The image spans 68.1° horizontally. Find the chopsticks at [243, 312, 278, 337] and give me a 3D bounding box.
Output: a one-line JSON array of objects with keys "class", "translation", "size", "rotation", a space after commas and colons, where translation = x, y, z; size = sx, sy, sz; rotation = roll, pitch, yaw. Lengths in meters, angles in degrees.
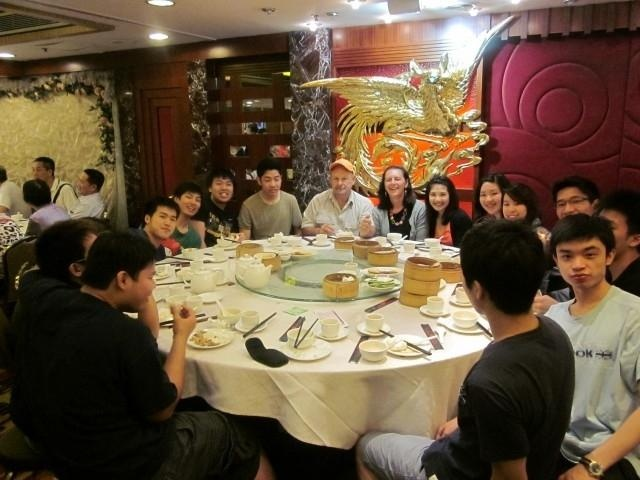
[{"class": "chopsticks", "translation": [-0.299, 0.413, 2.295], "size": [0.024, 0.020, 0.234], "rotation": [30, 29, 16]}]

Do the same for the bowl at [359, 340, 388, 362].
[{"class": "bowl", "translation": [0.237, 0.477, 2.058], "size": [0.090, 0.039, 0.085], "rotation": [-1, 24, 0]}]

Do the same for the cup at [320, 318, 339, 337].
[{"class": "cup", "translation": [0.047, 0.407, 2.231], "size": [0.060, 0.054, 0.082], "rotation": [-1, 5, -1]}]

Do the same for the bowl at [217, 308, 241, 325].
[{"class": "bowl", "translation": [-0.456, 0.375, 2.371], "size": [0.077, 0.038, 0.078], "rotation": [0, 22, 0]}]

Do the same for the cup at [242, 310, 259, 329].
[{"class": "cup", "translation": [-0.338, 0.380, 2.306], "size": [0.080, 0.064, 0.076], "rotation": [-1, 14, 0]}]

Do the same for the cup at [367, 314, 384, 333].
[{"class": "cup", "translation": [0.259, 0.391, 2.232], "size": [0.075, 0.062, 0.078], "rotation": [-4, 19, 2]}]

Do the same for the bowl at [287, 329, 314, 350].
[{"class": "bowl", "translation": [-0.082, 0.432, 2.112], "size": [0.089, 0.053, 0.083], "rotation": [-3, 8, 0]}]
